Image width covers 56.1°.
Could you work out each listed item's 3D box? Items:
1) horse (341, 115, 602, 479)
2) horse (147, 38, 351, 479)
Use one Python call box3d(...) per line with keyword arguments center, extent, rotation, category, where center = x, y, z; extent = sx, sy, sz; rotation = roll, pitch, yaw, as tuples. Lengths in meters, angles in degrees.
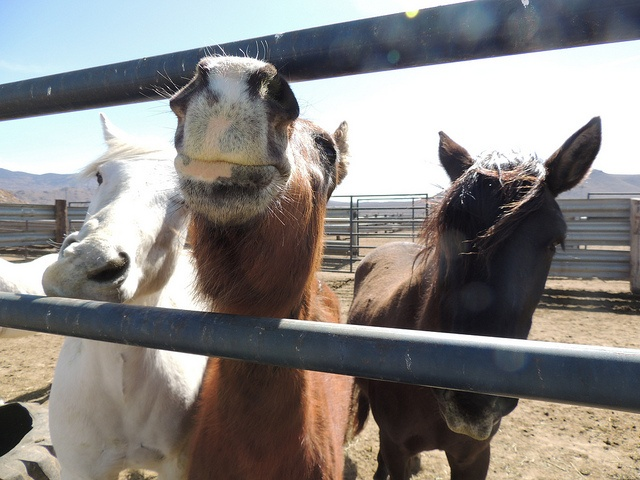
box3d(center=(0.770, 0.556, 3.759), extent=(0.837, 2.505, 1.776), rotation=(-3, 9, -18), category="horse")
box3d(center=(-0.282, 0.263, 3.038), extent=(0.738, 2.237, 1.085), rotation=(0, 8, 6), category="horse")
